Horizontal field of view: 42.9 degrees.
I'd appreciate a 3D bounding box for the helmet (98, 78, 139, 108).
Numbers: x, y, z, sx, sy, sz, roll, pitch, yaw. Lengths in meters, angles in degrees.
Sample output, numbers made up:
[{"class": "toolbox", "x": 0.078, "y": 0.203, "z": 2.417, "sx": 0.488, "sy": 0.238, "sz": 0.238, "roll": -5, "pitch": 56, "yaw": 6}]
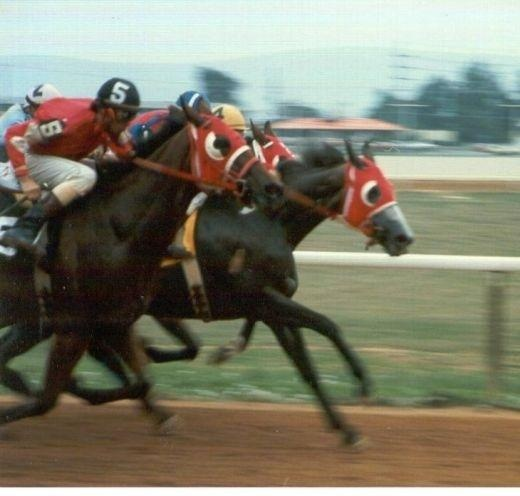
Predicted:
[{"class": "helmet", "x": -0.407, "y": -0.452, "z": 1.938, "sx": 0.136, "sy": 0.068, "sz": 0.071, "roll": -6, "pitch": 36, "yaw": -5}]
